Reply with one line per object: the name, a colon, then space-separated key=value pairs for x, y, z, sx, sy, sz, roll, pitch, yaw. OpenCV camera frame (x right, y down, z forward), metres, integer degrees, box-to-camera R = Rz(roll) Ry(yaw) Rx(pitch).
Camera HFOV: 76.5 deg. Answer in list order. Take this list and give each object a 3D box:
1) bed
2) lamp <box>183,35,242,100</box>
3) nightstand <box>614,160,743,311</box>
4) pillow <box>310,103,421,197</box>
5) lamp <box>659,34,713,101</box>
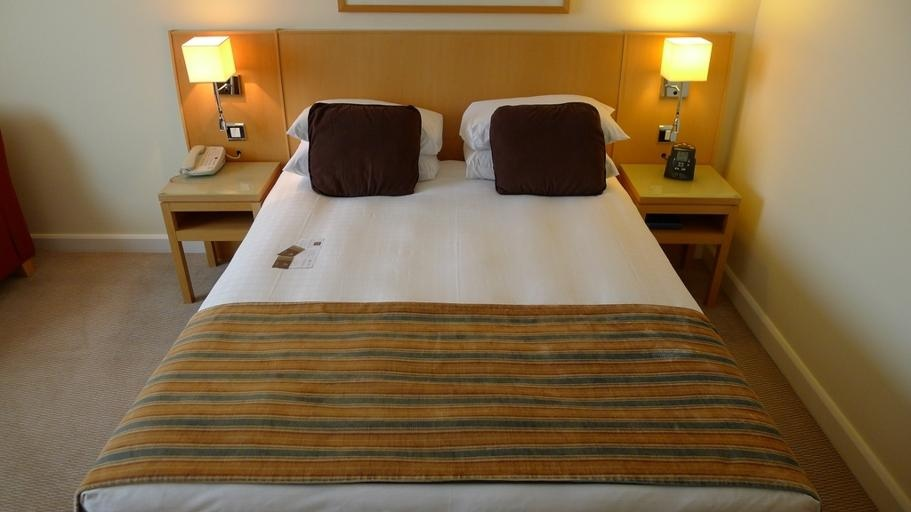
bed: x=-0.084 y=0.333 z=3.514 sx=3.160 sy=0.931 sz=2.231 roll=1 pitch=28 yaw=1
lamp: x=-1.801 y=-1.389 z=4.269 sx=0.333 sy=0.417 sz=0.320 roll=-6 pitch=30 yaw=-11
nightstand: x=1.664 y=-0.161 z=4.566 sx=0.828 sy=0.820 sz=0.736 roll=4 pitch=23 yaw=4
pillow: x=-0.650 y=-0.728 z=4.082 sx=0.834 sy=0.627 sz=0.224 roll=0 pitch=-2 yaw=-2
lamp: x=1.691 y=-1.361 z=4.255 sx=0.361 sy=0.437 sz=0.338 roll=7 pitch=30 yaw=12
